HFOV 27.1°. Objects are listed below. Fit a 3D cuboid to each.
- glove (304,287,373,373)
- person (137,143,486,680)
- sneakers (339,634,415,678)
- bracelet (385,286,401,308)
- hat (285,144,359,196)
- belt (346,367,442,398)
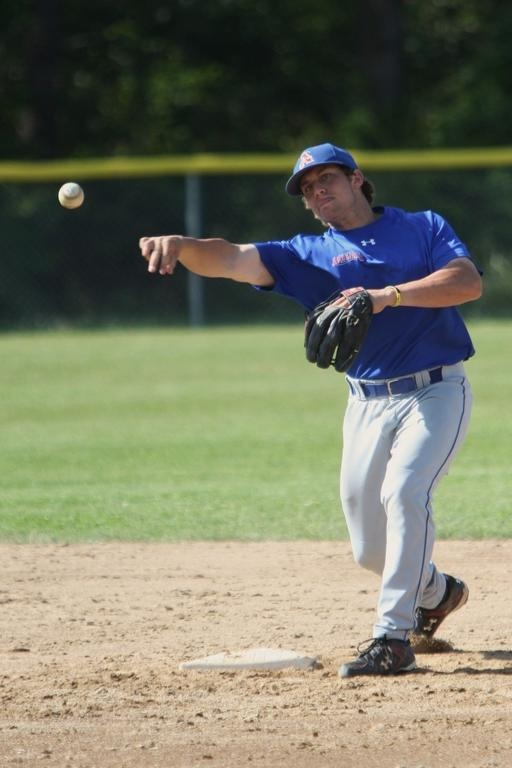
[{"bbox_3d":[0.254,-0.154,3.091,0.191,0.229,0.118,25,14,33],"label":"glove"},{"bbox_3d":[0.298,0.051,3.280,0.726,1.591,0.750,-11,14,-41],"label":"person"},{"bbox_3d":[0.356,0.778,3.066,0.248,0.087,0.093,-4,4,-19],"label":"sneakers"},{"bbox_3d":[0.384,-0.252,2.981,0.023,0.047,0.046,-5,-15,-14],"label":"bracelet"},{"bbox_3d":[0.183,-0.702,3.337,0.163,0.097,0.204,-24,-3,23],"label":"hat"},{"bbox_3d":[0.401,-0.006,3.241,0.119,0.110,0.320,-10,13,-43],"label":"belt"}]
